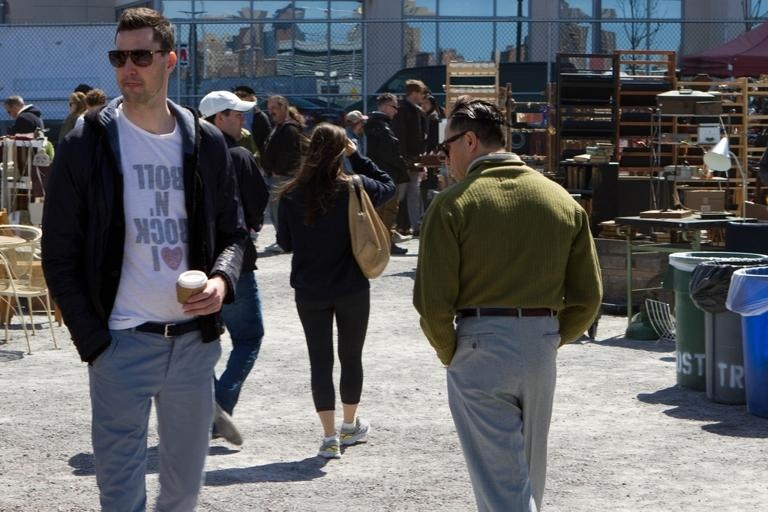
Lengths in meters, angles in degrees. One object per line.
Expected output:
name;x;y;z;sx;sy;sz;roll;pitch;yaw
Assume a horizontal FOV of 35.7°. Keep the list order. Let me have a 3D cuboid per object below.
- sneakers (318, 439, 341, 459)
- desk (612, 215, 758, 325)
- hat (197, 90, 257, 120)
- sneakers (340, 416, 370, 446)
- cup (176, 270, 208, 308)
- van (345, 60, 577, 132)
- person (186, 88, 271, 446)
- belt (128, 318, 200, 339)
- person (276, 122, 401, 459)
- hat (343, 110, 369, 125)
sneakers;-0.454;1.622;9.961;0.102;0.122;0.248;1;4;-4
desk;3.452;0.204;13.792;1.437;1.252;1.415;-1;1;0
hat;-1.404;-1.362;10.636;0.418;0.156;0.263;-9;10;-9
sneakers;-0.240;1.498;10.275;0.137;0.209;0.315;9;21;38
cup;-1.237;0.220;7.691;0.197;0.145;0.200;-1;12;0
van;1.594;-3.294;23.190;3.188;1.405;1.736;0;8;-1
person;-1.218;0.059;10.385;0.860;3.016;0.782;-2;14;-11
belt;-1.406;0.478;7.825;0.420;0.105;0.038;-2;7;-13
person;-0.399;0.285;10.076;0.929;2.760;0.573;-2;7;-13
hat;-0.432;-1.976;16.943;0.285;0.162;0.449;4;11;22
